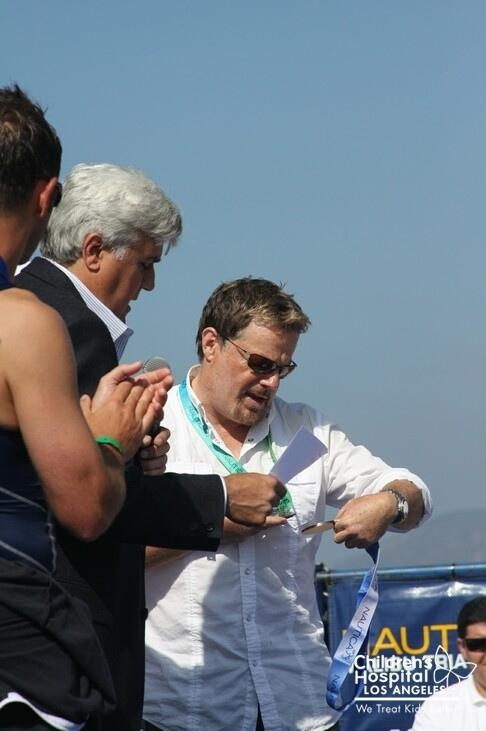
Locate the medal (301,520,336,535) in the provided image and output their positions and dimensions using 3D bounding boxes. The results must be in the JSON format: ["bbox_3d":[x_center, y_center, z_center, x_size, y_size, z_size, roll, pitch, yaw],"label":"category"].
[{"bbox_3d":[0.247,0.529,5.016,0.083,0.043,0.167,-2,-3,20],"label":"medal"}]

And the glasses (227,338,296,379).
[{"bbox_3d":[0.066,0.000,5.388,0.168,0.051,0.173,39,7,33],"label":"glasses"}]
